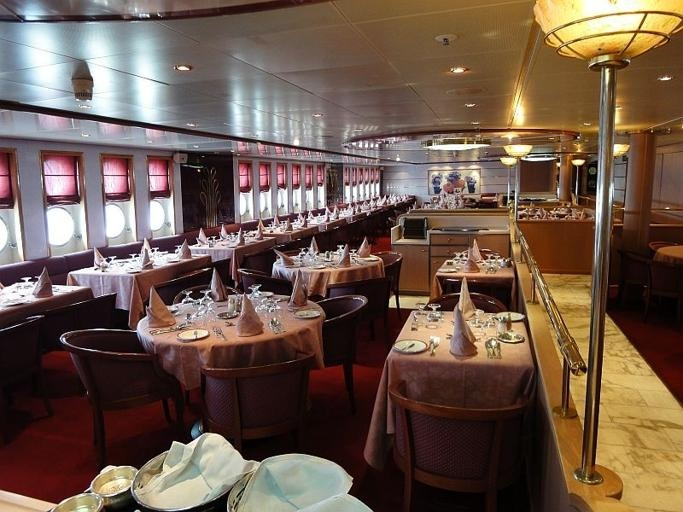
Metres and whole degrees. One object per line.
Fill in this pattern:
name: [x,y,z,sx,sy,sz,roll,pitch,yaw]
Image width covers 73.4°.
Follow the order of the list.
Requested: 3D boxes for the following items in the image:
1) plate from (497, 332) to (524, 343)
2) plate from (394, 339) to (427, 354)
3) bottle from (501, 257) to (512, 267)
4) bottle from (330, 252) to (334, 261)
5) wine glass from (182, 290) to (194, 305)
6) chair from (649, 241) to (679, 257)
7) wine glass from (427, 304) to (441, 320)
plate: [1.378,0.661,3.704,0.232,0.043,0.174,-5,9,-18]
plate: [0.540,0.709,3.589,0.263,0.036,0.280,-1,8,8]
bottle: [2.404,0.106,6.675,0.193,0.132,0.193,-3,4,0]
bottle: [-0.169,0.020,7.657,0.081,0.138,0.146,2,9,10]
wine glass: [-1.763,0.477,5.257,0.135,0.136,0.133,4,10,1]
chair: [4.878,-0.101,6.952,0.311,0.315,0.297,-5,1,-21]
wine glass: [0.874,0.516,4.277,0.158,0.168,0.153,-1,0,-2]
